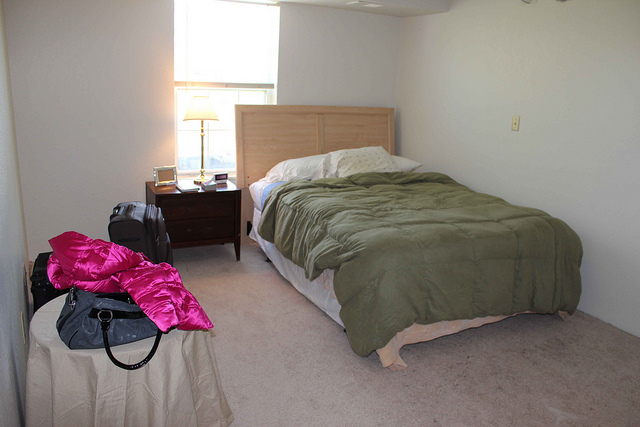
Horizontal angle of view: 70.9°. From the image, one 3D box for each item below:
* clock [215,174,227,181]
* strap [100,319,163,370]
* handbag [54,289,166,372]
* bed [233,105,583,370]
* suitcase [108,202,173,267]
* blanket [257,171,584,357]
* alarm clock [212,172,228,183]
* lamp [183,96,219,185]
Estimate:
[{"bbox_3d":[-0.991,-0.372,4.461,0.121,0.059,0.026,-10,19,-28],"label":"clock"},{"bbox_3d":[-0.920,0.633,2.189,0.287,0.243,0.115,-5,17,-14],"label":"strap"},{"bbox_3d":[-1.019,0.563,2.199,0.423,0.157,0.424,13,17,-26],"label":"handbag"},{"bbox_3d":[0.546,-0.121,4.094,2.123,1.627,2.705,-8,18,-22],"label":"bed"},{"bbox_3d":[-1.307,0.169,3.244,0.389,0.454,0.356,-9,19,-25],"label":"suitcase"},{"bbox_3d":[0.677,0.171,4.046,2.624,0.878,2.733,2,15,6],"label":"blanket"},{"bbox_3d":[-1.003,-0.403,4.483,0.167,0.121,0.097,-17,33,-38],"label":"alarm clock"},{"bbox_3d":[-1.171,-0.743,4.452,0.321,0.837,0.571,-5,17,-12],"label":"lamp"}]
